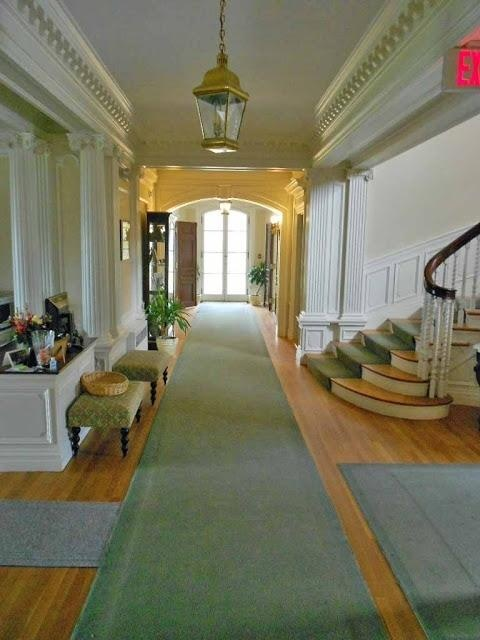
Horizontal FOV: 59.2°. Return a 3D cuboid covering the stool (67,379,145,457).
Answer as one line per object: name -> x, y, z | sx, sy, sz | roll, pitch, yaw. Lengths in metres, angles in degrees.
stool -> -1.097, 0.923, 3.508 | 0.510, 0.369, 0.770 | 3, 12, -2

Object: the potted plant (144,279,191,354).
potted plant -> -1.284, -0.040, 7.481 | 1.027, 1.317, 0.958 | 2, 16, 2

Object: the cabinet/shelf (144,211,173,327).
cabinet/shelf -> -1.441, -0.998, 7.186 | 0.435, 1.593, 0.215 | -1, 8, -12

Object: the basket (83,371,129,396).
basket -> -1.176, 0.562, 3.668 | 0.238, 0.084, 0.227 | -6, 22, -24
